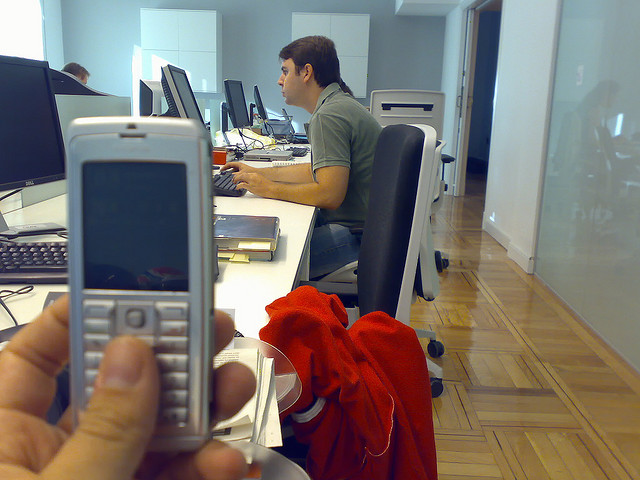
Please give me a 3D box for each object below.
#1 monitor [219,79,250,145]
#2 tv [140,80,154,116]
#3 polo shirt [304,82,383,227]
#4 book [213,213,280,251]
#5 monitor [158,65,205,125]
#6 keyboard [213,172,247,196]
[{"bbox_3d":[-0.674,-1.034,3.934,0.230,0.475,1.147,-3,15,-8],"label":"monitor"},{"bbox_3d":[-0.871,-0.706,2.488,0.095,0.156,0.048,6,15,26],"label":"tv"},{"bbox_3d":[0.085,-0.305,1.789,0.269,0.481,0.402,-1,14,-1],"label":"polo shirt"},{"bbox_3d":[-0.166,-0.015,1.146,0.107,0.027,0.115,2,19,-3],"label":"book"},{"bbox_3d":[-0.652,-0.653,2.261,0.146,0.225,0.300,-4,13,3],"label":"monitor"},{"bbox_3d":[-0.328,-0.196,1.812,0.104,0.039,0.157,10,36,-12],"label":"keyboard"}]
